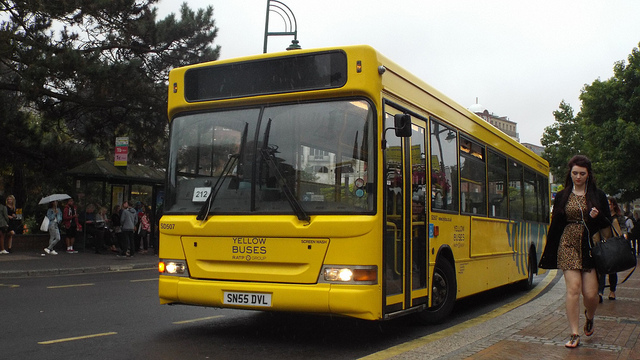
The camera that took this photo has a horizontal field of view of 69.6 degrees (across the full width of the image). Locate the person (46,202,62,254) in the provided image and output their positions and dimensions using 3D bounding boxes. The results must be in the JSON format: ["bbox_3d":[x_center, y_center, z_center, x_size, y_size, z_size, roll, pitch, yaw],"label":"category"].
[{"bbox_3d":[-13.026,2.351,22.539,0.600,2.501,1.515,1,-2,-31],"label":"person"}]

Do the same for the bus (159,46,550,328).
[{"bbox_3d":[0.652,0.386,9.733,7.471,5.732,2.690,1,-2,-24],"label":"bus"}]

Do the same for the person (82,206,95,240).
[{"bbox_3d":[-11.967,2.209,23.877,0.518,1.715,1.029,0,-2,-27],"label":"person"}]

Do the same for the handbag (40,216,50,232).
[{"bbox_3d":[-13.211,2.105,22.173,0.331,0.703,0.920,1,-2,-31],"label":"handbag"}]

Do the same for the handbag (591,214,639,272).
[{"bbox_3d":[5.409,1.147,8.542,0.819,1.023,0.405,1,-2,-26],"label":"handbag"}]

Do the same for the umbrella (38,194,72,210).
[{"bbox_3d":[-13.119,1.057,22.965,0.799,0.498,0.824,-10,-11,41],"label":"umbrella"}]

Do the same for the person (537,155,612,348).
[{"bbox_3d":[4.869,1.283,8.644,1.170,3.474,0.573,0,-1,-5],"label":"person"}]
